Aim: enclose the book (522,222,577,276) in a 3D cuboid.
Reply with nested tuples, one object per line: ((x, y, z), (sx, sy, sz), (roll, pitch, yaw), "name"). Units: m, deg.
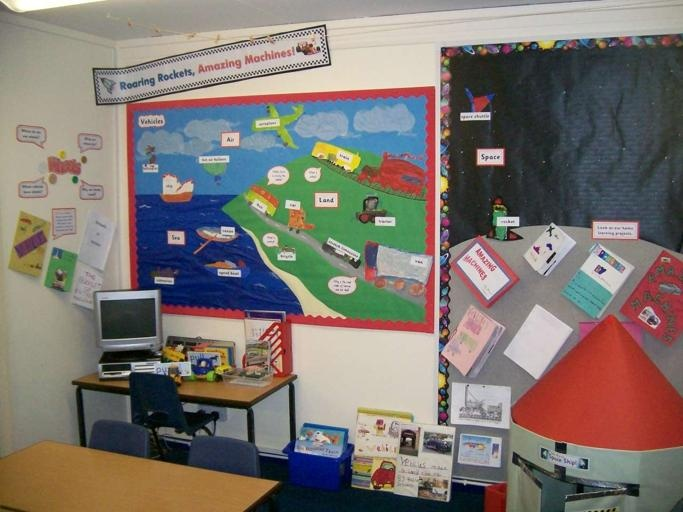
((1.515, -0.024, 4.099), (0.117, 0.389, 0.292), (18, 25, -49), "book")

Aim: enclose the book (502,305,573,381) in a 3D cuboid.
((1.442, 0.635, 4.117), (0.459, 0.543, 0.048), (2, -2, 24), "book")

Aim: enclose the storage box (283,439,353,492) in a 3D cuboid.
((-0.197, 1.556, 4.386), (0.529, 0.288, 0.299), (0, -2, 17), "storage box")

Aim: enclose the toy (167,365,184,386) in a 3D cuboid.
((-1.344, 0.969, 4.464), (0.115, 0.171, 0.161), (-4, -3, -2), "toy")

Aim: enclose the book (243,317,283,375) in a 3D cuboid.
((-0.647, 0.757, 4.624), (0.420, 0.600, 0.068), (-3, -8, 25), "book")

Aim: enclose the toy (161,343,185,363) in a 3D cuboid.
((-1.425, 0.823, 4.710), (0.250, 0.097, 0.107), (3, -2, 13), "toy")
